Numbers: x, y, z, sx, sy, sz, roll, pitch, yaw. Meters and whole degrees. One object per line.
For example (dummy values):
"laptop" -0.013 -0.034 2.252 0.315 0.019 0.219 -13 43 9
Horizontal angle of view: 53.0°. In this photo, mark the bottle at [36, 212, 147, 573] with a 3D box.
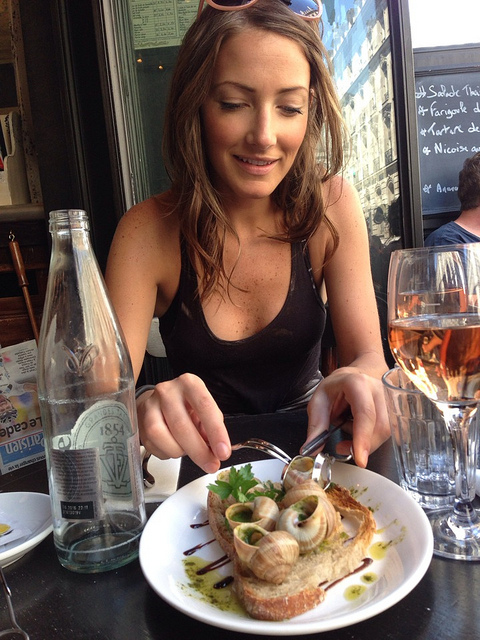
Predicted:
"bottle" -0.164 0.077 0.512 0.102 0.373 0.114 -8 7 -14

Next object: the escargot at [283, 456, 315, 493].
"escargot" 0.072 0.187 0.595 0.030 0.032 0.028 26 15 18

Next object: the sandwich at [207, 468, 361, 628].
"sandwich" 0.029 0.231 0.489 0.096 0.036 0.120 33 40 32
